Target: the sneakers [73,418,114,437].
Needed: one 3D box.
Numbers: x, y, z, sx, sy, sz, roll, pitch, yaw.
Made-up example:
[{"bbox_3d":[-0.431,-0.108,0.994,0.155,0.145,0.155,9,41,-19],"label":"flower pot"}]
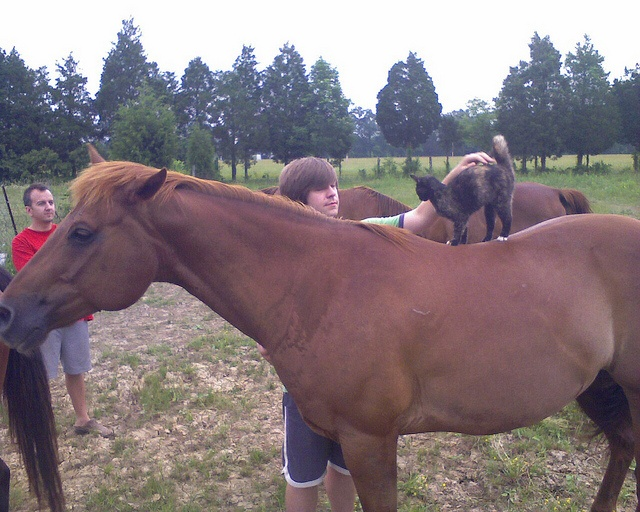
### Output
[{"bbox_3d":[-2.202,1.693,6.874,0.335,0.182,0.169,2,1,-1],"label":"sneakers"}]
